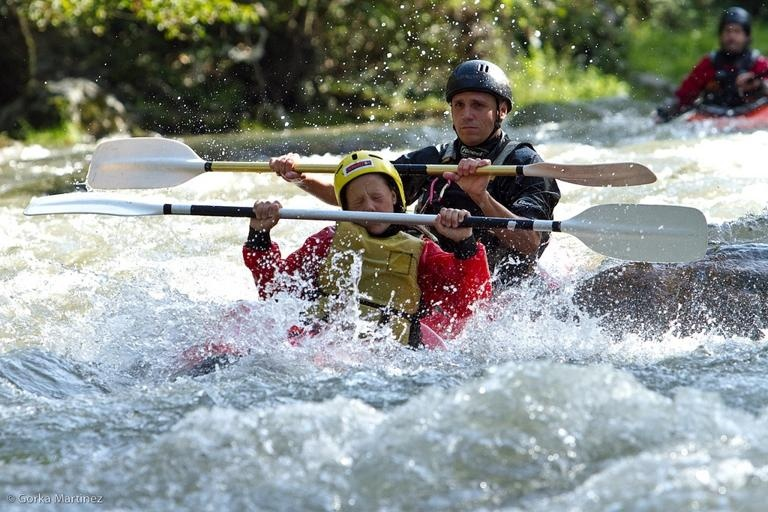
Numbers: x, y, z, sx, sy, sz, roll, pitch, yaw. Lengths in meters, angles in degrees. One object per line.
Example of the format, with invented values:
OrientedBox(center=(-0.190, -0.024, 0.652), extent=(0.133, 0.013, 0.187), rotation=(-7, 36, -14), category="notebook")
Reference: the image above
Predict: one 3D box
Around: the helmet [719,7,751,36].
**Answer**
OrientedBox(center=(4.539, -3.056, 12.907), extent=(0.382, 0.393, 0.511), rotation=(2, 0, 10), category="helmet")

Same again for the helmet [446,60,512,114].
OrientedBox(center=(0.786, -1.397, 8.165), extent=(0.343, 0.435, 0.331), rotation=(-1, 65, 16), category="helmet")

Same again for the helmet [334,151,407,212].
OrientedBox(center=(-0.102, -0.543, 7.472), extent=(0.394, 0.484, 0.445), rotation=(-7, 31, 2), category="helmet")
